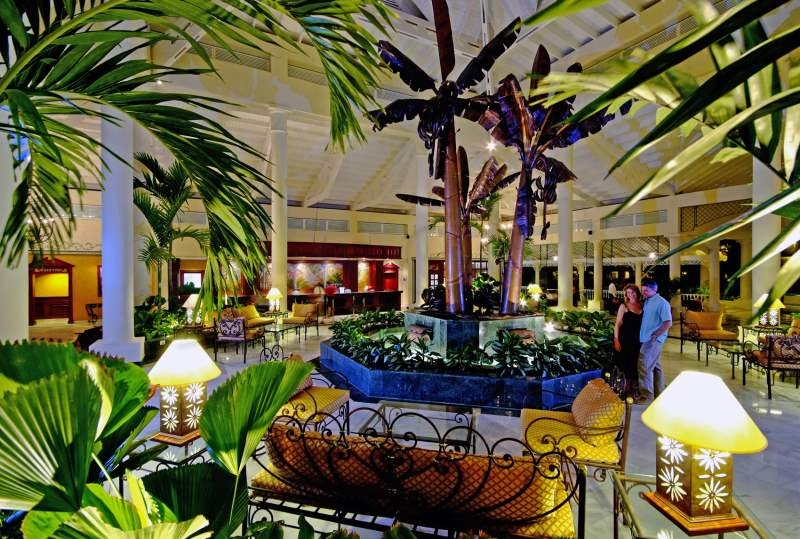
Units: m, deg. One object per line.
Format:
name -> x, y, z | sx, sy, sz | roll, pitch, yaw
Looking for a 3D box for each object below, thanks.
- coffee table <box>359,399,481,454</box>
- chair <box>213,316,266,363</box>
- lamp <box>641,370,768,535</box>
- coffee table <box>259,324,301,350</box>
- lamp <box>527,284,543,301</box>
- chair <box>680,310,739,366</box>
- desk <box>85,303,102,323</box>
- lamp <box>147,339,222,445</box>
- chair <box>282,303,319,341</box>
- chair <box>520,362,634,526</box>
coffee table -> 0.246, 1.622, 5.557 | 0.993, 0.237, 0.897 | -1, 2, 13
chair -> -2.887, 1.186, 9.607 | 0.616, 0.760, 0.709 | -1, 1, 15
lamp -> 1.998, 1.222, 3.515 | 0.703, 1.085, 0.367 | 1, -3, 25
coffee table -> -2.604, 1.431, 11.484 | 0.545, 0.403, 0.846 | 5, 5, 30
lamp -> 3.607, 0.588, 14.274 | 0.317, 0.419, 0.981 | 2, -3, 13
chair -> 5.735, 1.192, 9.786 | 0.927, 0.898, 0.975 | 2, -1, 30
desk -> -8.711, 1.208, 15.012 | 0.313, 0.547, 1.240 | 4, -3, -26
lamp -> -1.790, 1.005, 4.346 | 0.502, 0.902, 0.534 | 4, -3, -25
chair -> -2.369, 1.137, 12.003 | 0.860, 0.926, 0.771 | 0, 1, 16
chair -> 1.600, 1.408, 4.963 | 0.899, 0.896, 1.226 | 3, 1, 6
